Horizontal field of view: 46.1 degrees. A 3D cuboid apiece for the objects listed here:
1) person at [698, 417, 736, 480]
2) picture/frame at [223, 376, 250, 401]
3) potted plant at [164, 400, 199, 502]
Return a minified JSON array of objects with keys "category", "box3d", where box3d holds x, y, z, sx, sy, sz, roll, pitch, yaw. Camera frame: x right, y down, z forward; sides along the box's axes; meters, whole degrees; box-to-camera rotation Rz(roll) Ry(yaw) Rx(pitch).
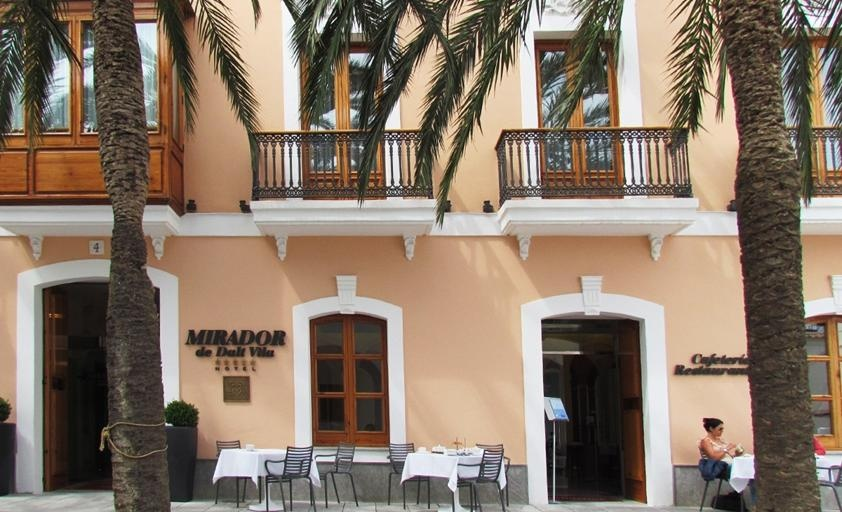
[{"category":"person","box3d":[5.635,3.572,18.779,0.613,1.086,0.821,3,7,44]},{"category":"picture/frame","box3d":[-3.572,2.562,19.149,0.433,0.411,0.062,2,-10,-6]},{"category":"potted plant","box3d":[-4.535,3.661,18.782,0.596,1.864,0.401,1,-1,-13]}]
